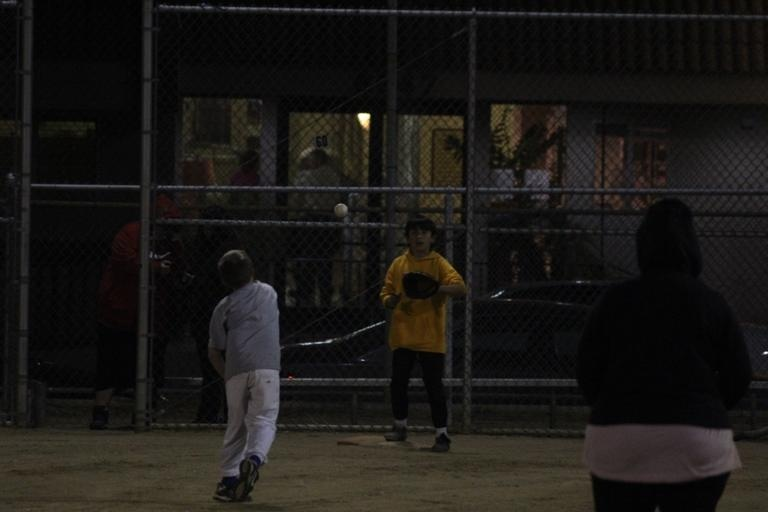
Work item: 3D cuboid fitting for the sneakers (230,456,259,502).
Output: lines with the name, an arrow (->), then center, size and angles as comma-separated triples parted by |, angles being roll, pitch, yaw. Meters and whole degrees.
sneakers -> -1.159, 1.896, 11.192 | 0.160, 0.445, 0.199 | 18, 2, 2

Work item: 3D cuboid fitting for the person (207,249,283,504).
person -> -1.196, 1.034, 11.340 | 0.587, 2.169, 0.377 | 1, -3, 24

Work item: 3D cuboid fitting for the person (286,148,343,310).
person -> -0.764, -0.343, 14.402 | 0.582, 1.795, 0.959 | 2, -2, -3

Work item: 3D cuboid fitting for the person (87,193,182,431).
person -> -2.604, 0.569, 13.370 | 0.815, 2.389, 0.549 | 1, -2, 8

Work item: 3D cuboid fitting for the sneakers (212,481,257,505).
sneakers -> -1.286, 2.040, 11.277 | 0.369, 0.167, 0.149 | 0, -5, 9

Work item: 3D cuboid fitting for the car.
car -> 0.887, 0.990, 14.719 | 3.234, 1.001, 1.383 | 2, -6, -6

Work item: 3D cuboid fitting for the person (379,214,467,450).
person -> 0.368, 0.754, 12.760 | 0.821, 2.268, 0.527 | 1, -2, 6

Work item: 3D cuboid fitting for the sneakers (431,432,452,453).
sneakers -> 0.572, 1.811, 12.761 | 0.098, 0.194, 0.291 | 2, -1, 11

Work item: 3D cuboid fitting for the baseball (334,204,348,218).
baseball -> -0.451, -0.456, 13.233 | 0.136, 0.156, 0.137 | 2, -2, 7

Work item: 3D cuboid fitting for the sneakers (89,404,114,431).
sneakers -> -2.902, 1.638, 13.343 | 0.195, 0.236, 0.173 | 2, -2, -13
